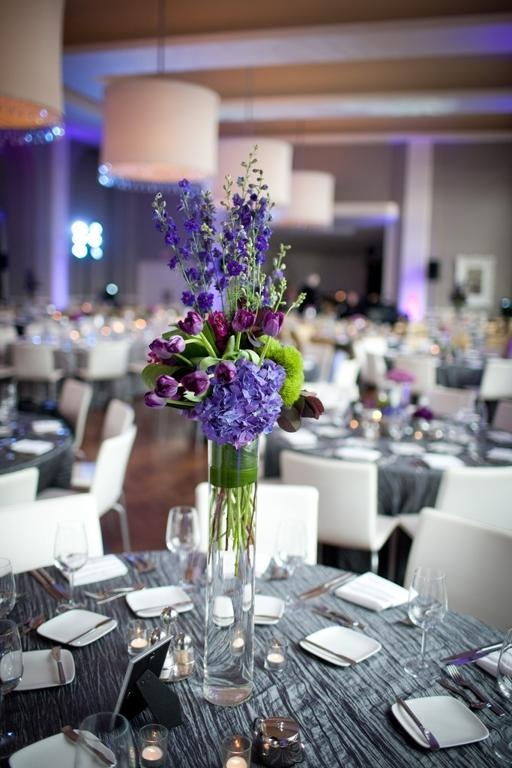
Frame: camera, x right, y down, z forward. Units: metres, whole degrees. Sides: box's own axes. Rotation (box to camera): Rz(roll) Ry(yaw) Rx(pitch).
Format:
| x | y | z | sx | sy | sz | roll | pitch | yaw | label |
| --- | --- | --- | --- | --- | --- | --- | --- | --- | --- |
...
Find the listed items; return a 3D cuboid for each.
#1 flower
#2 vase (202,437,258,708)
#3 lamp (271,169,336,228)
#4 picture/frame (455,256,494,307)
| x | y | z | sx | sy | sz | roll | pitch | yaw | label |
| --- | --- | --- | --- | --- | --- | --- | --- | --- | --- |
| -0.042 | -0.096 | 1.061 | 0.335 | 0.753 | 0.451 | 2 | 6 | 6 | flower |
| -0.042 | 0.305 | 0.996 | 0.087 | 0.424 | 0.182 | 2 | 6 | 0 | vase |
| 0.574 | -2.013 | 6.746 | 0.901 | 0.763 | 0.979 | 1 | 10 | 6 | lamp |
| 0.897 | -0.397 | 2.338 | 0.184 | 0.197 | 0.070 | 4 | 2 | 13 | picture/frame |
